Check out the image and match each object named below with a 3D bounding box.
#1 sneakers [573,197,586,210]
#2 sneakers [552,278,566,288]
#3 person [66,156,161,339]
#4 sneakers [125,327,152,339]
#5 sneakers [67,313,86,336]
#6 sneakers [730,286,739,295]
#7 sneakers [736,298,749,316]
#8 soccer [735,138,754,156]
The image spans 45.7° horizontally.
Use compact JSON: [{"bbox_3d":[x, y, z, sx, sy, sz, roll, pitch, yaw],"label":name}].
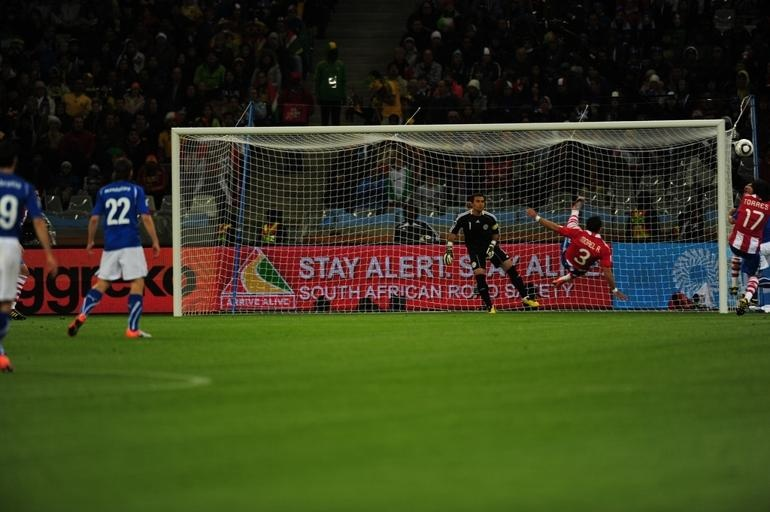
[{"bbox_3d":[3.435,-0.904,16.149,0.089,0.258,0.255,38,-14,-20],"label":"sneakers"},{"bbox_3d":[3.013,0.475,15.951,0.227,0.097,0.219,4,-13,-29],"label":"sneakers"},{"bbox_3d":[-3.858,-0.069,12.785,1.260,2.568,0.914,-4,11,-20],"label":"person"},{"bbox_3d":[-3.465,1.102,12.877,0.390,0.155,0.137,0,7,-24],"label":"sneakers"},{"bbox_3d":[-4.529,1.036,13.366,0.123,0.353,0.158,35,22,-9],"label":"sneakers"},{"bbox_3d":[5.869,0.623,15.292,0.172,0.159,0.157,0,4,4],"label":"sneakers"},{"bbox_3d":[5.737,0.825,14.594,0.152,0.368,0.175,15,26,33],"label":"sneakers"},{"bbox_3d":[6.461,-1.924,16.428,0.327,0.284,0.638,4,11,20],"label":"soccer"}]
